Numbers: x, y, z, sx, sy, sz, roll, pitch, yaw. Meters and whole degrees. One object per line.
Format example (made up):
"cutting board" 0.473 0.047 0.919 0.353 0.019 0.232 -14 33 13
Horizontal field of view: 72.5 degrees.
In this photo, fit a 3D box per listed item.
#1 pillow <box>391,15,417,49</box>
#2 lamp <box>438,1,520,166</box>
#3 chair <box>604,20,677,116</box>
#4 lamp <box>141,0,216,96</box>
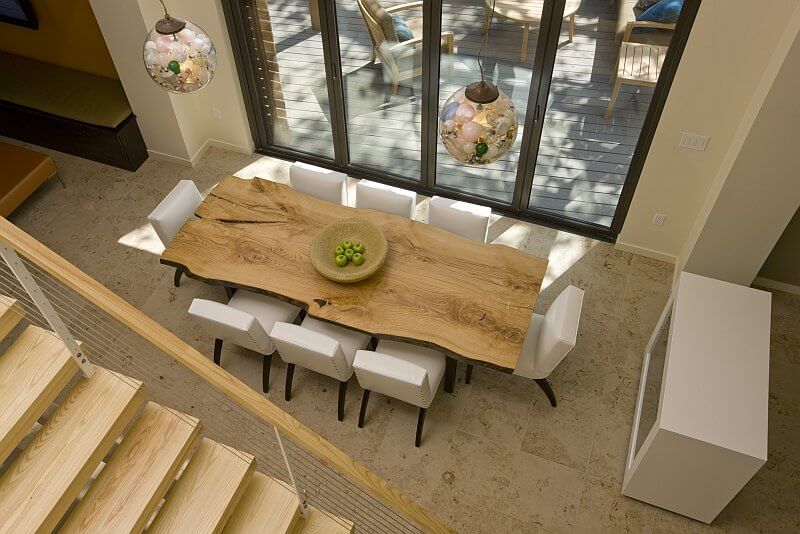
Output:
"pillow" 0.031 -2.363 5.485 0.226 0.252 0.042 12 47 14
"lamp" 0.541 -0.988 3.782 0.523 0.562 0.373 5 46 7
"chair" 2.170 -1.793 5.027 0.498 0.690 0.395 10 91 11
"lamp" -1.709 -1.636 4.237 0.472 0.513 0.353 1 46 4
